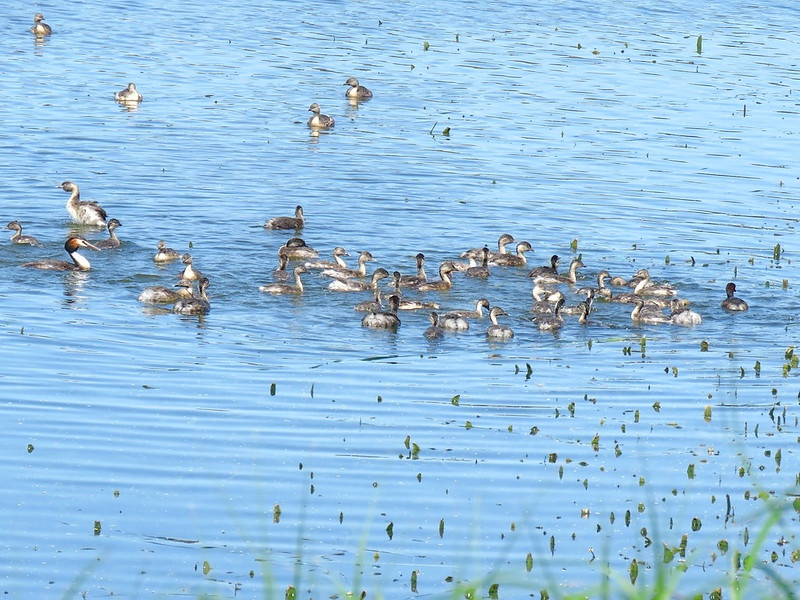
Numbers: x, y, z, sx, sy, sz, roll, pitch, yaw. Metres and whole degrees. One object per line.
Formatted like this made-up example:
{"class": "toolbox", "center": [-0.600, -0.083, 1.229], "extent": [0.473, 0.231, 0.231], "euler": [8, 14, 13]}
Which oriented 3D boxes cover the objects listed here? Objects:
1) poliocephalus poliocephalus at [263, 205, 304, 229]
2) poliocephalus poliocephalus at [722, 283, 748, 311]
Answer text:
{"class": "poliocephalus poliocephalus", "center": [-3.793, -2.665, 43.700], "extent": [1.557, 0.656, 0.692], "euler": [-7, -67, -21]}
{"class": "poliocephalus poliocephalus", "center": [9.704, -0.039, 38.333], "extent": [0.674, 0.939, 0.738], "euler": [2, -30, -3]}
